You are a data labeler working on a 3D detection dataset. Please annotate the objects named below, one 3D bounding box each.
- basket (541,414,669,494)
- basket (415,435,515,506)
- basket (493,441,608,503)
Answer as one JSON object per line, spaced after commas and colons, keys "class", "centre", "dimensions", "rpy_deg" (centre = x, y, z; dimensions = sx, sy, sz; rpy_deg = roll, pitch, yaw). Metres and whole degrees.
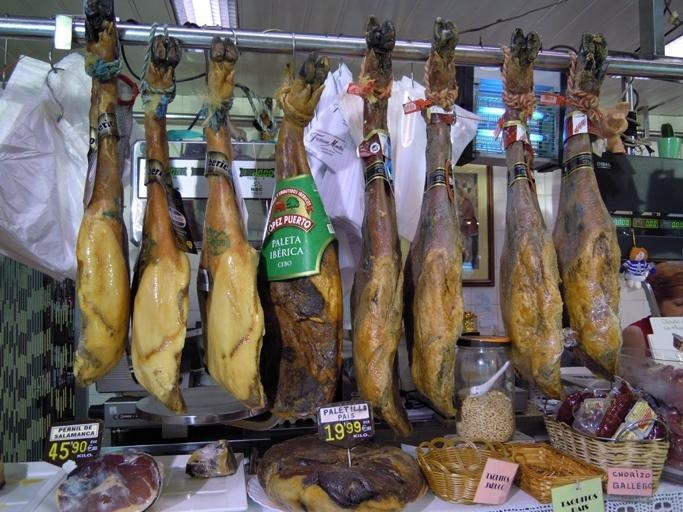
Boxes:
{"class": "basket", "centre": [0.896, 0.613, 1.863], "dimensions": [0.233, 0.126, 0.287], "rpy_deg": [4, -1, -26]}
{"class": "basket", "centre": [0.384, 0.688, 1.811], "dimensions": [0.201, 0.112, 0.237], "rpy_deg": [2, -4, -27]}
{"class": "basket", "centre": [0.689, 0.698, 1.849], "dimensions": [0.170, 0.069, 0.256], "rpy_deg": [0, 11, -14]}
